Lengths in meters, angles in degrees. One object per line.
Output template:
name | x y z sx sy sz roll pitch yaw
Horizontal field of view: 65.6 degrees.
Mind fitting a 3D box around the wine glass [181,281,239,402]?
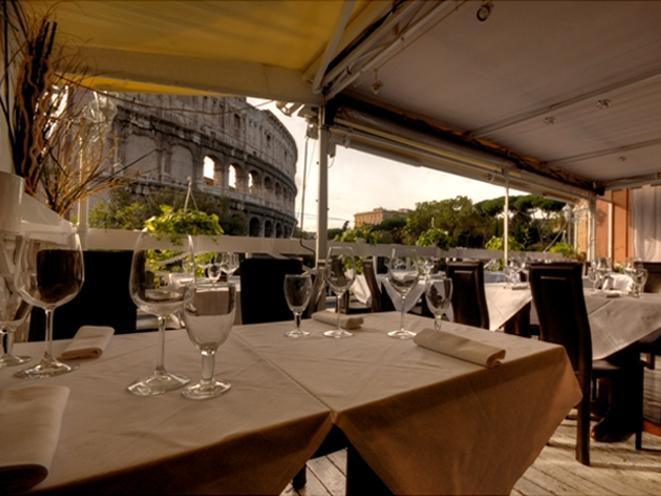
wine glass | -0.424 0.308 1.783 0.171 0.373 0.316 1 -1 -16
